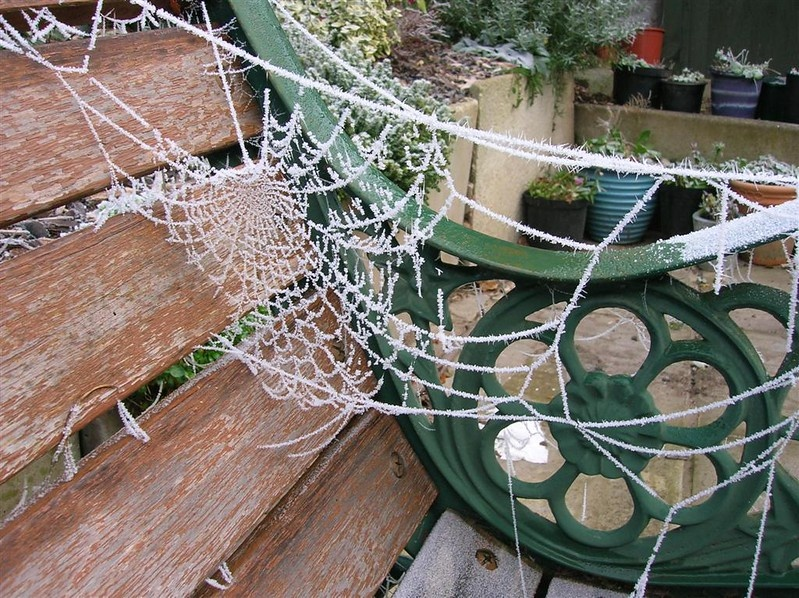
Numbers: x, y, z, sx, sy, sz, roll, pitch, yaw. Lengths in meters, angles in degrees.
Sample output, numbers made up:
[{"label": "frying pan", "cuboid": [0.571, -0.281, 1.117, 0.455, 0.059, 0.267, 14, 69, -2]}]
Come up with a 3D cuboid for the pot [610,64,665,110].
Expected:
[{"label": "pot", "cuboid": [2.083, -1.810, 5.727, 0.397, 0.301, 0.414, 4, 12, -1]}]
